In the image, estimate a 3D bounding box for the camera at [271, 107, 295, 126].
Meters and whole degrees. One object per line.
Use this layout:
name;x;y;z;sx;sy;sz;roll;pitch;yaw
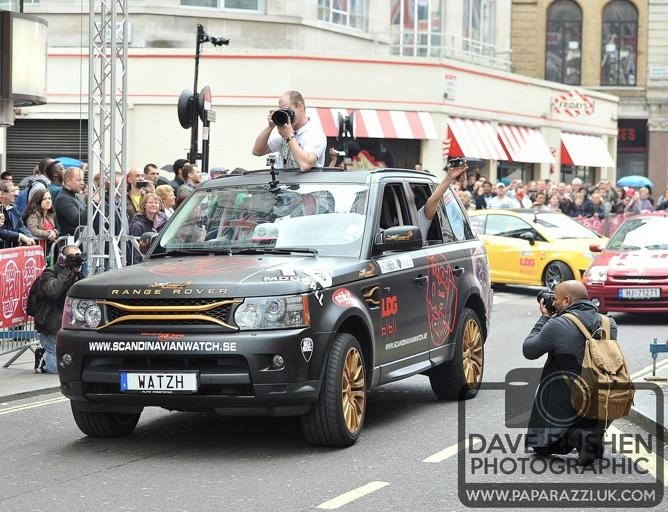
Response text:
camera;-0.494;-1.298;8.242;0.195;0.107;0.199;-4;-4;22

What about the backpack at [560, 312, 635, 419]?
backpack;1.913;0.812;6.389;0.481;0.761;0.314;0;3;11

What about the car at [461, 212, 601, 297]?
car;4.483;-0.079;19.029;3.441;1.329;2.030;-2;-1;38

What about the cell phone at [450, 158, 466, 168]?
cell phone;1.201;-0.906;8.558;0.125;0.068;0.023;0;3;11

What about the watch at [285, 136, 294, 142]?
watch;-0.422;-1.088;8.145;0.058;0.036;0.052;-31;-34;18

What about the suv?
suv;-0.306;0.208;8.419;2.586;1.905;4.396;2;6;28

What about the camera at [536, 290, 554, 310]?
camera;1.570;0.327;6.679;0.156;0.114;0.201;14;5;18

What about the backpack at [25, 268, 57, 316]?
backpack;-3.431;0.396;10.180;0.204;0.507;0.410;28;15;35

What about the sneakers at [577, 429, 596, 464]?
sneakers;1.862;1.422;6.501;0.161;0.250;0.066;2;5;-5

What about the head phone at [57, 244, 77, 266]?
head phone;-3.052;-0.010;10.122;0.256;0.208;0.238;-24;-24;38
